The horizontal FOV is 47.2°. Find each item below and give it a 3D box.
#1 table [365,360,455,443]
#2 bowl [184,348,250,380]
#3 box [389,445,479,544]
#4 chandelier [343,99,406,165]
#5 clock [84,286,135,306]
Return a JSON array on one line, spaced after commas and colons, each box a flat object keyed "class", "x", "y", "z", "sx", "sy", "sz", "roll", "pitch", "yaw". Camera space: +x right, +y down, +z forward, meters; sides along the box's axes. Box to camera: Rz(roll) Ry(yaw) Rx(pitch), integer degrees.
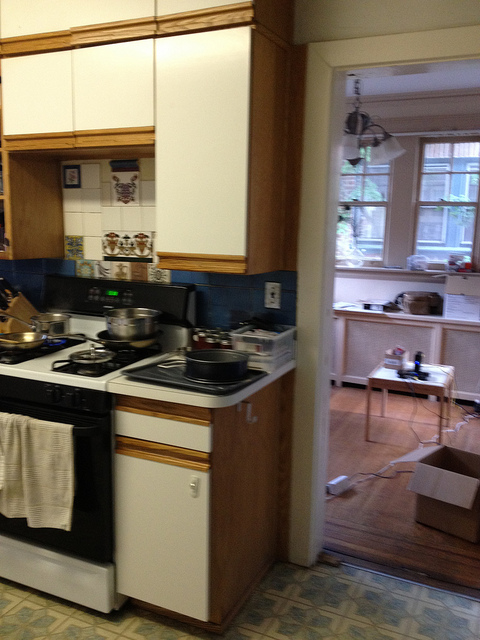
[{"class": "table", "x": 1.150, "y": 0.431, "z": 3.675, "sx": 0.551, "sy": 0.440, "sz": 0.610, "roll": 4, "pitch": 13, "yaw": 22}, {"class": "bowl", "x": -0.083, "y": 0.122, "z": 1.732, "sx": 0.127, "sy": 0.038, "sz": 0.118, "roll": 1, "pitch": 11, "yaw": 0}, {"class": "box", "x": 1.020, "y": 0.798, "z": 2.594, "sx": 0.329, "sy": 0.318, "sz": 0.385, "roll": 9, "pitch": 12, "yaw": 42}, {"class": "chandelier", "x": 0.793, "y": -1.337, "z": 3.754, "sx": 0.434, "sy": 0.371, "sz": 0.351, "roll": 11, "pitch": 23, "yaw": 28}, {"class": "clock", "x": -0.586, "y": -0.101, "z": 2.314, "sx": 0.185, "sy": 0.091, "sz": 0.041, "roll": 5, "pitch": -7, "yaw": 13}]
